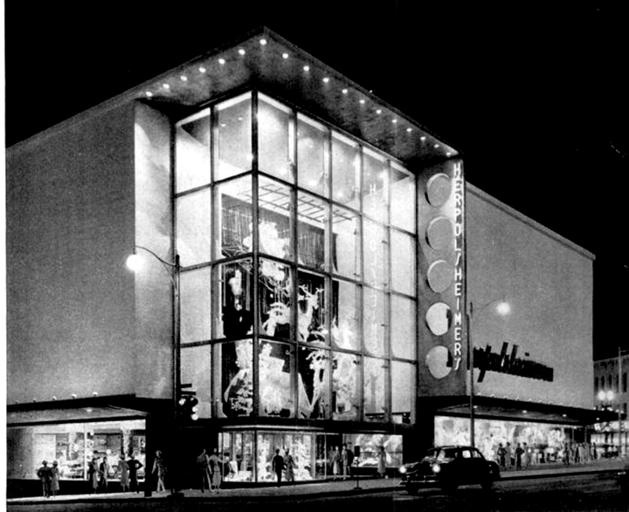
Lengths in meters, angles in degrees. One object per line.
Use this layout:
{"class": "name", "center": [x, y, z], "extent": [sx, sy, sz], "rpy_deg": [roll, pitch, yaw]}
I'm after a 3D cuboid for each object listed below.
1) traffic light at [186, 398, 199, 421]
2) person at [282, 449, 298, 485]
{"class": "traffic light", "center": [-5.691, 7.184, 45.605], "extent": [0.331, 1.090, 0.720], "rpy_deg": [-3, -17, 8]}
{"class": "person", "center": [-1.290, 11.682, 53.609], "extent": [0.433, 1.989, 1.035], "rpy_deg": [-9, -18, 27]}
